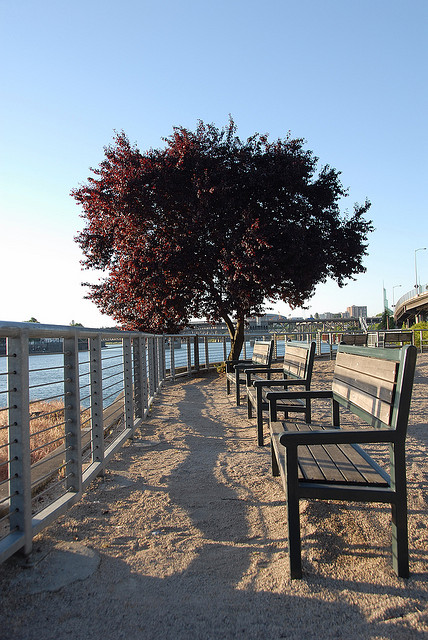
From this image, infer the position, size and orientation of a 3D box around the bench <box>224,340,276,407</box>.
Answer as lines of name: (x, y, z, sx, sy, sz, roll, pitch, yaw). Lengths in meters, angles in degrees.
bench: (0.499, 0.813, 6.603, 0.521, 1.023, 1.363, 3, -3, -5)

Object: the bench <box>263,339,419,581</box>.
bench: (0.691, 0.779, 2.407, 0.373, 0.761, 0.993, 0, -6, 2)

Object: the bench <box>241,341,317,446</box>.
bench: (0.630, 0.733, 4.385, 0.374, 0.753, 0.994, 1, -5, -2)
